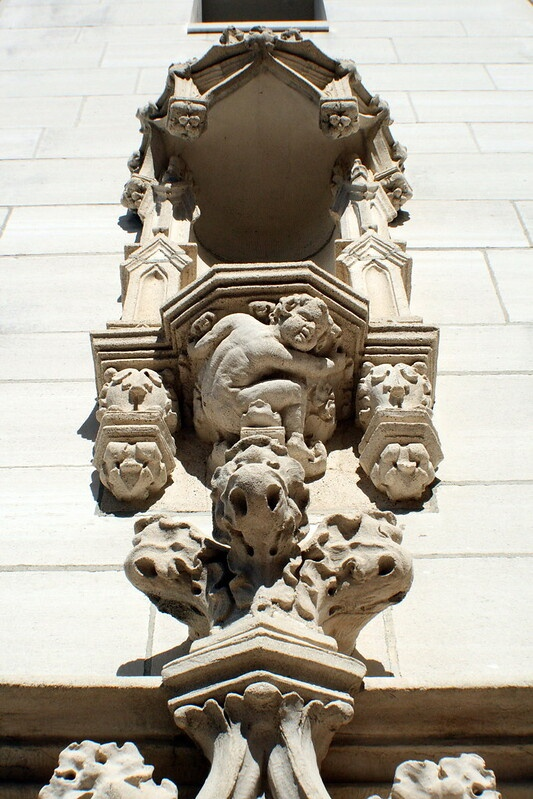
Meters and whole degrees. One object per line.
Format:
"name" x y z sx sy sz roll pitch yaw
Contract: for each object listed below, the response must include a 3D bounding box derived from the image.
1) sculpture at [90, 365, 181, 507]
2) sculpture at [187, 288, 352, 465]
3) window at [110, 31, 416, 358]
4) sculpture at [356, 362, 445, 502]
"sculpture" -0.584 0.150 9.136 0.398 0.336 0.641 2 56 0
"sculpture" 0.066 -0.058 9.056 0.666 0.697 0.558 9 -10 -29
"window" -0.060 -1.013 10.865 1.619 1.539 1.749 0 30 1
"sculpture" 0.572 0.130 9.110 0.363 0.365 0.675 -13 57 12
